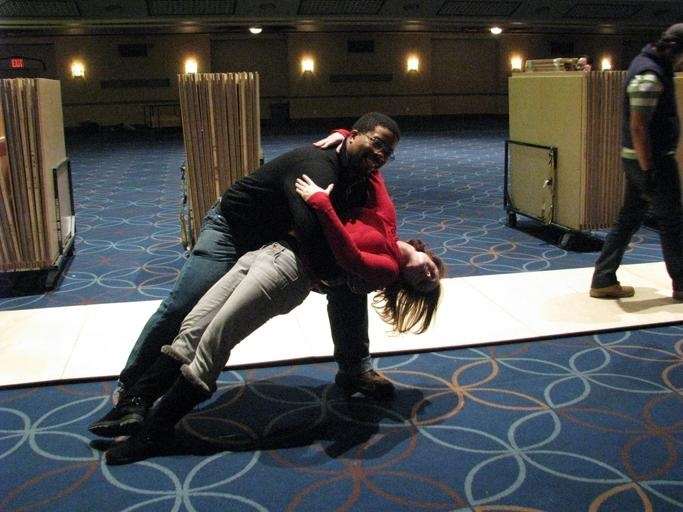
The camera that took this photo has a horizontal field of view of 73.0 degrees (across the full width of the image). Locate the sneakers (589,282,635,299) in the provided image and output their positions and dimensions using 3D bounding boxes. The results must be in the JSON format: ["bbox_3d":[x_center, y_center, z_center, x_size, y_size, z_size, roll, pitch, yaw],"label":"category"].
[{"bbox_3d":[2.031,0.269,3.540,0.342,0.129,0.115,-2,7,-1],"label":"sneakers"}]

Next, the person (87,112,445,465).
[{"bbox_3d":[-0.268,0.107,2.062,1.535,1.396,0.672,-14,19,-30],"label":"person"}]

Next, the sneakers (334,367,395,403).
[{"bbox_3d":[0.127,0.667,2.387,0.304,0.133,0.134,-2,26,7],"label":"sneakers"}]

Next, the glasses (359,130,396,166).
[{"bbox_3d":[0.130,-0.490,2.072,0.155,0.047,0.156,34,5,-41],"label":"glasses"}]
